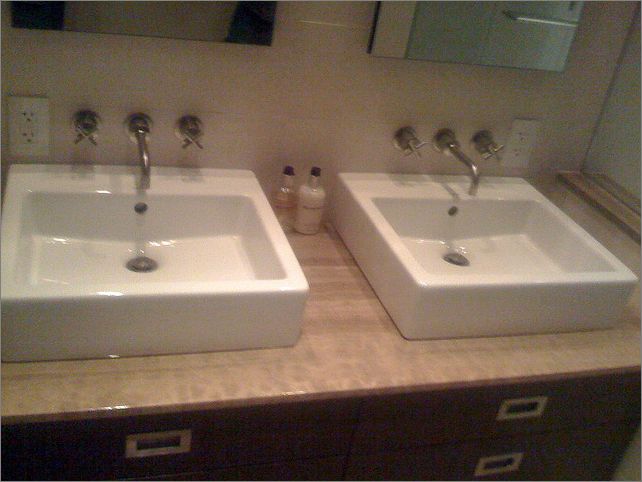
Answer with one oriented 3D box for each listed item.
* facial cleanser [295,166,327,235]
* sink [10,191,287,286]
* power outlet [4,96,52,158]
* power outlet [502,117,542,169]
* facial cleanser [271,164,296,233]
[{"bbox_3d":[-0.027,-0.118,1.483,0.079,0.191,0.137,7,30,2],"label":"facial cleanser"},{"bbox_3d":[-0.427,0.023,1.263,0.678,0.105,0.300,-4,52,-12],"label":"sink"},{"bbox_3d":[-0.717,-0.278,1.293,0.173,0.127,0.061,-10,33,-21],"label":"power outlet"},{"bbox_3d":[0.645,-0.311,1.691,0.125,0.168,0.024,-8,36,-22],"label":"power outlet"},{"bbox_3d":[-0.105,-0.125,1.484,0.087,0.177,0.082,-21,44,-26],"label":"facial cleanser"}]
